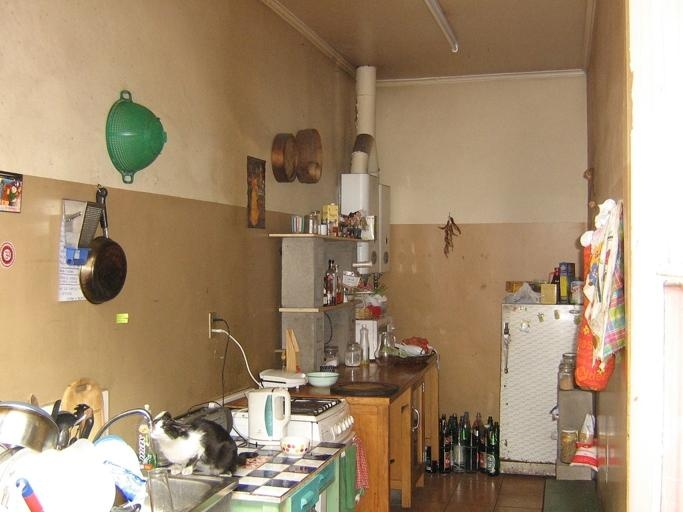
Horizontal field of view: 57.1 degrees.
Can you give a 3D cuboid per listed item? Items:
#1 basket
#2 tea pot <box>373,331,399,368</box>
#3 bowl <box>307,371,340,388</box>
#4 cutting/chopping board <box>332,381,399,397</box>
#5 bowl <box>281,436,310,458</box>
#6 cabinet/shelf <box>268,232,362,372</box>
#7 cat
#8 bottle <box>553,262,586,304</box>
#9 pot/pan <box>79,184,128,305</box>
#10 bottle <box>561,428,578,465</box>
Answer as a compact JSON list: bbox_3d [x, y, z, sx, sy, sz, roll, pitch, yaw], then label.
[{"bbox_3d":[-1.057,-0.599,3.154,0.188,0.541,0.370,-1,10,22],"label":"basket"},{"bbox_3d":[0.398,0.787,5.422,0.190,0.249,0.353,-3,-4,25],"label":"tea pot"},{"bbox_3d":[-0.131,0.841,4.317,0.207,0.099,0.187,-2,-4,-6],"label":"bowl"},{"bbox_3d":[0.165,0.889,4.190,0.431,0.041,0.523,-3,-4,11],"label":"cutting/chopping board"},{"bbox_3d":[-0.246,0.981,3.250,0.097,0.056,0.102,1,-10,0],"label":"bowl"},{"bbox_3d":[-0.223,0.362,4.698,0.287,0.950,1.030,0,-1,17],"label":"cabinet/shelf"},{"bbox_3d":[-0.662,0.853,2.850,0.528,0.266,0.201,13,-15,-22],"label":"cat"},{"bbox_3d":[1.964,0.236,5.479,0.237,0.356,0.281,-3,-3,17],"label":"bottle"},{"bbox_3d":[-1.164,-0.008,3.065,0.089,0.483,0.237,-3,-3,22],"label":"pot/pan"},{"bbox_3d":[1.767,1.475,4.895,0.143,0.250,0.100,-4,-4,32],"label":"bottle"}]
